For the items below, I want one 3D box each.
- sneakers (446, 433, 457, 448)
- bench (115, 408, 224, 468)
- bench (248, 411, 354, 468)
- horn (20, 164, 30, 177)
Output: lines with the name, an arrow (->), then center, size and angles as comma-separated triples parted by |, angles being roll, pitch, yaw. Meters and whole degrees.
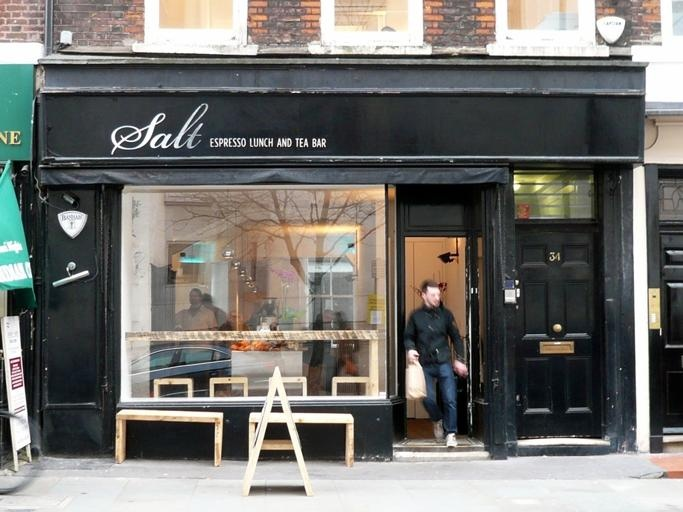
sneakers -> 1.520, 2.518, 16.976 | 0.158, 0.185, 0.393 | -2, 1, 4
bench -> -2.280, 2.444, 16.452 | 1.384, 0.622, 0.312 | 2, -2, -5
bench -> -0.519, 2.436, 16.342 | 1.427, 0.695, 0.781 | -2, 1, -5
horn -> -4.239, -1.143, 16.594 | 0.109, 0.130, 0.138 | 1, 19, 1
